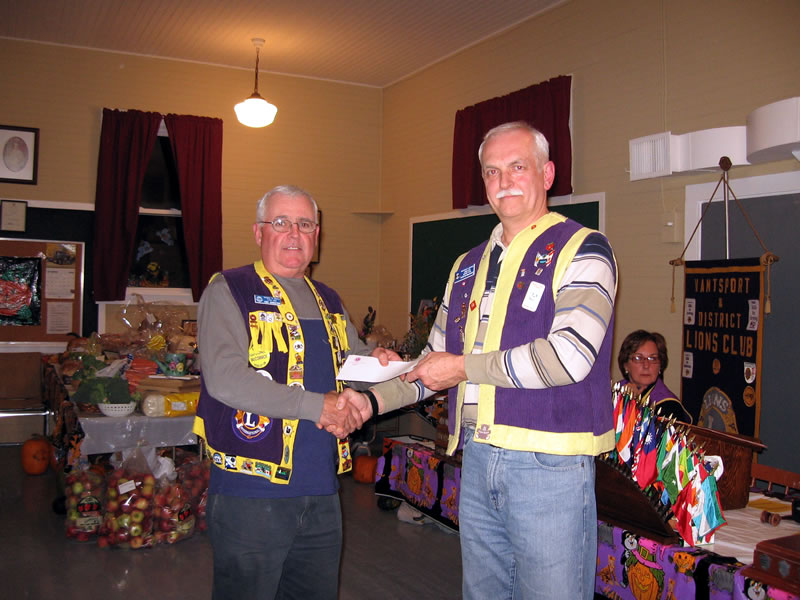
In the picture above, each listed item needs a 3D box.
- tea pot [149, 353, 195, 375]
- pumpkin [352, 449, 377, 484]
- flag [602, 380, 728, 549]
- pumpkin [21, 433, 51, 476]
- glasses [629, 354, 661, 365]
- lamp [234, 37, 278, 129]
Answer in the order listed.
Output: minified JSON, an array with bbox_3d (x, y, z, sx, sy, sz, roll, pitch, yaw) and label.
[{"bbox_3d":[-1.546,0.446,4.244,0.179,0.189,0.073,-6,-13,-21],"label":"tea pot"},{"bbox_3d":[-0.308,1.560,5.694,0.199,0.291,0.214,2,-7,-1],"label":"pumpkin"},{"bbox_3d":[1.196,0.768,2.821,0.204,0.500,0.695,-1,33,-39],"label":"flag"},{"bbox_3d":[-3.353,1.431,5.724,0.295,0.460,0.279,3,-12,-34],"label":"pumpkin"},{"bbox_3d":[1.592,0.379,4.021,0.185,0.090,0.068,3,3,22],"label":"glasses"},{"bbox_3d":[-1.567,-2.385,6.764,0.436,0.908,0.465,7,6,35],"label":"lamp"}]
